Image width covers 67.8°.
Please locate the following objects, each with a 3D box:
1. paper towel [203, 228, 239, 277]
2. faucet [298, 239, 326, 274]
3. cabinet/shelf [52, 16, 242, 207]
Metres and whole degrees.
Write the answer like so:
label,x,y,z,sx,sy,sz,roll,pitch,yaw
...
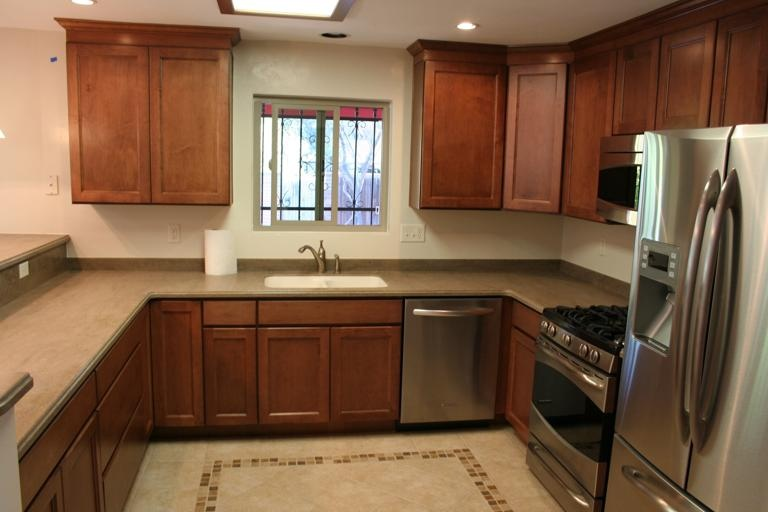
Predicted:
label,x,y,z,sx,sy,sz,roll,pitch,yaw
paper towel,-1.198,-0.024,4.198,0.224,0.331,0.102,-6,13,-18
faucet,-0.538,0.012,4.335,0.208,0.237,0.219,-3,12,-7
cabinet/shelf,-1.609,-0.947,4.107,1.207,1.214,0.496,0,2,-4
